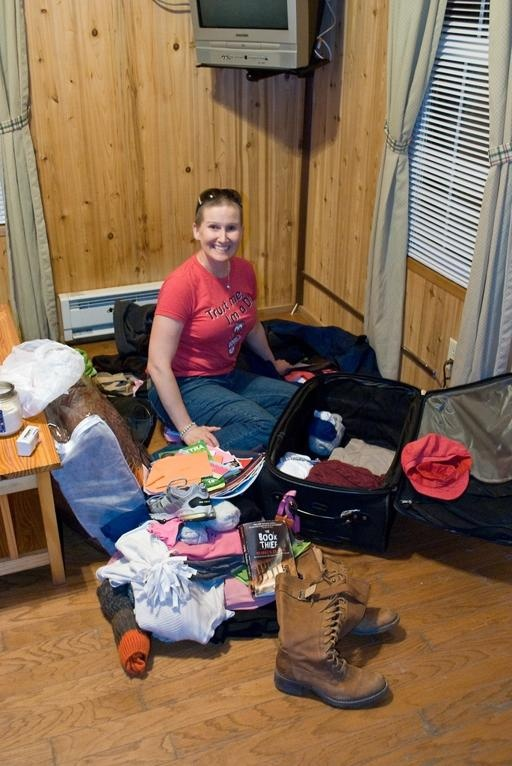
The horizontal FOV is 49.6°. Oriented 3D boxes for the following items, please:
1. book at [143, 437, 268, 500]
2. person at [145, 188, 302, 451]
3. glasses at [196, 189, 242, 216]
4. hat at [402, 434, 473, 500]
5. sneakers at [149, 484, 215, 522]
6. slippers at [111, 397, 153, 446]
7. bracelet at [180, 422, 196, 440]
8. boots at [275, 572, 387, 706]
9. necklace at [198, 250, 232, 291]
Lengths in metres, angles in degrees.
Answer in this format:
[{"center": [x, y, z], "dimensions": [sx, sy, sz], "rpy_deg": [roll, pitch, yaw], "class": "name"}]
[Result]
[{"center": [-0.180, 0.284, 1.754], "dimensions": [0.247, 0.088, 0.189], "rpy_deg": [-12, 14, -38], "class": "book"}, {"center": [-0.092, -0.238, 2.072], "dimensions": [0.598, 0.923, 0.731], "rpy_deg": [5, 26, 5], "class": "person"}, {"center": [-0.146, -0.684, 2.063], "dimensions": [0.158, 0.085, 0.249], "rpy_deg": [-3, 28, -6], "class": "glasses"}, {"center": [0.573, 0.260, 1.747], "dimensions": [0.238, 0.094, 0.222], "rpy_deg": [-29, 30, -31], "class": "hat"}, {"center": [-0.208, 0.346, 1.614], "dimensions": [0.206, 0.110, 0.085], "rpy_deg": [-1, 5, 30], "class": "sneakers"}, {"center": [-0.515, 0.147, 2.350], "dimensions": [0.145, 0.071, 0.201], "rpy_deg": [-32, 39, -21], "class": "slippers"}, {"center": [-0.254, 0.173, 2.007], "dimensions": [0.059, 0.023, 0.047], "rpy_deg": [-52, 10, -9], "class": "bracelet"}, {"center": [0.181, 0.610, 1.322], "dimensions": [0.257, 0.295, 0.163], "rpy_deg": [1, -1, 14], "class": "boots"}, {"center": [-0.164, -0.433, 2.085], "dimensions": [0.132, 0.159, 0.215], "rpy_deg": [-1, 28, -2], "class": "necklace"}]
